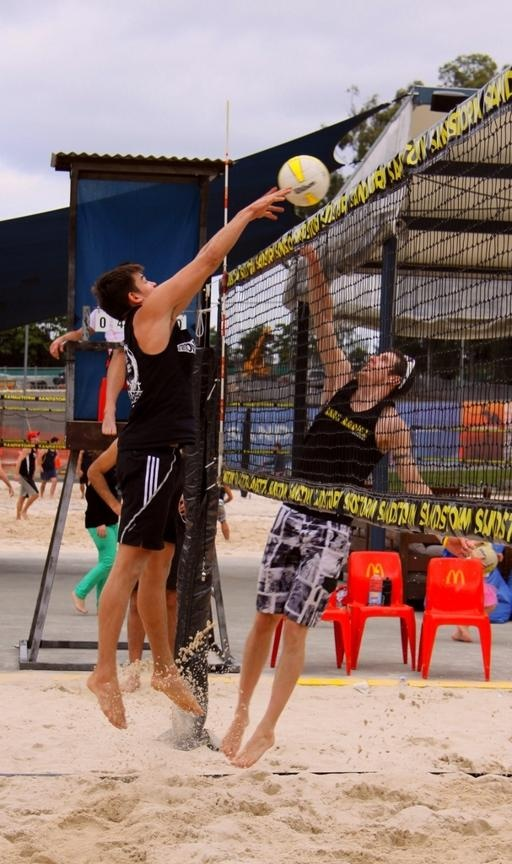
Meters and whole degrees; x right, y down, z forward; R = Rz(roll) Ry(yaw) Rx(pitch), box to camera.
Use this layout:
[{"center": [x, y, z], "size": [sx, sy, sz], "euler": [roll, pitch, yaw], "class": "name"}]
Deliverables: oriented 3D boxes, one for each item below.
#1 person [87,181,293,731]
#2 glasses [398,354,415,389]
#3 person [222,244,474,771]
[{"center": [-0.336, 0.171, 3.354], "size": [0.616, 2.168, 0.513], "euler": [3, 3, -11], "class": "person"}, {"center": [0.597, -0.232, 3.413], "size": [0.083, 0.116, 0.043], "euler": [-4, -22, 27], "class": "glasses"}, {"center": [0.299, 0.333, 3.487], "size": [0.644, 1.910, 0.789], "euler": [7, 4, -2], "class": "person"}]
